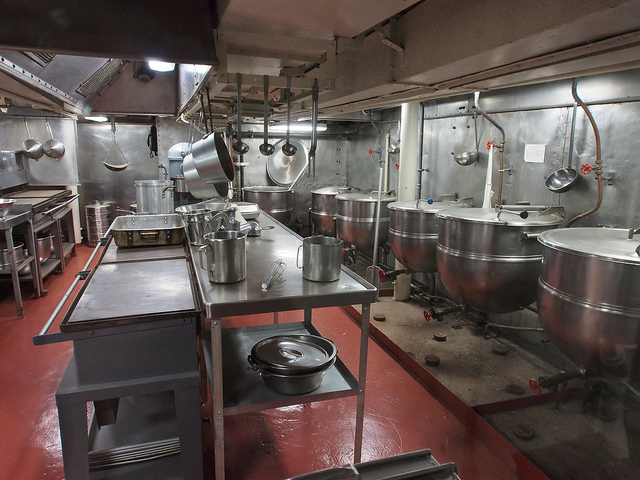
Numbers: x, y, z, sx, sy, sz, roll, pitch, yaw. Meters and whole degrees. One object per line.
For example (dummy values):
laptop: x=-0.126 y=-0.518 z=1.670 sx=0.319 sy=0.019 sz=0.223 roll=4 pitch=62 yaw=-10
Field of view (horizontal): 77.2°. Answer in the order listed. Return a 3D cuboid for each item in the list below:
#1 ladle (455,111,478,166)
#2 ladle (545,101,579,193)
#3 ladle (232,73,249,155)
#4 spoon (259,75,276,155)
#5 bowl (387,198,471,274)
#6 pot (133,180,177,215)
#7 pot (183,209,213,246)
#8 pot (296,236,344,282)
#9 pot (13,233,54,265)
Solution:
ladle: x=1.608 y=-1.084 z=4.329 sx=0.147 sy=0.553 sz=0.227 roll=-6 pitch=12 yaw=-32
ladle: x=2.063 y=-0.770 z=3.377 sx=0.230 sy=0.747 sz=0.160 roll=5 pitch=11 yaw=26
ladle: x=-0.453 y=-0.713 z=2.321 sx=0.106 sy=0.462 sz=0.089 roll=-17 pitch=39 yaw=-28
spoon: x=-0.300 y=-0.702 z=2.313 sx=0.109 sy=0.484 sz=0.094 roll=-4 pitch=44 yaw=-12
bowl: x=1.100 y=-0.039 z=4.448 sx=0.769 sy=0.905 sz=0.802 roll=0 pitch=6 yaw=0
pot: x=-2.171 y=-0.543 z=5.277 sx=0.542 sy=0.556 sz=0.376 roll=5 pitch=23 yaw=-7
pot: x=-0.936 y=-0.117 z=3.058 sx=0.277 sy=0.301 sz=0.293 roll=-3 pitch=13 yaw=1
pot: x=-0.006 y=0.112 z=2.354 sx=0.264 sy=0.208 sz=0.207 roll=-1 pitch=10 yaw=-12
pot: x=-3.871 y=0.106 z=5.541 sx=0.521 sy=0.460 sz=0.598 roll=-3 pitch=-1 yaw=27
